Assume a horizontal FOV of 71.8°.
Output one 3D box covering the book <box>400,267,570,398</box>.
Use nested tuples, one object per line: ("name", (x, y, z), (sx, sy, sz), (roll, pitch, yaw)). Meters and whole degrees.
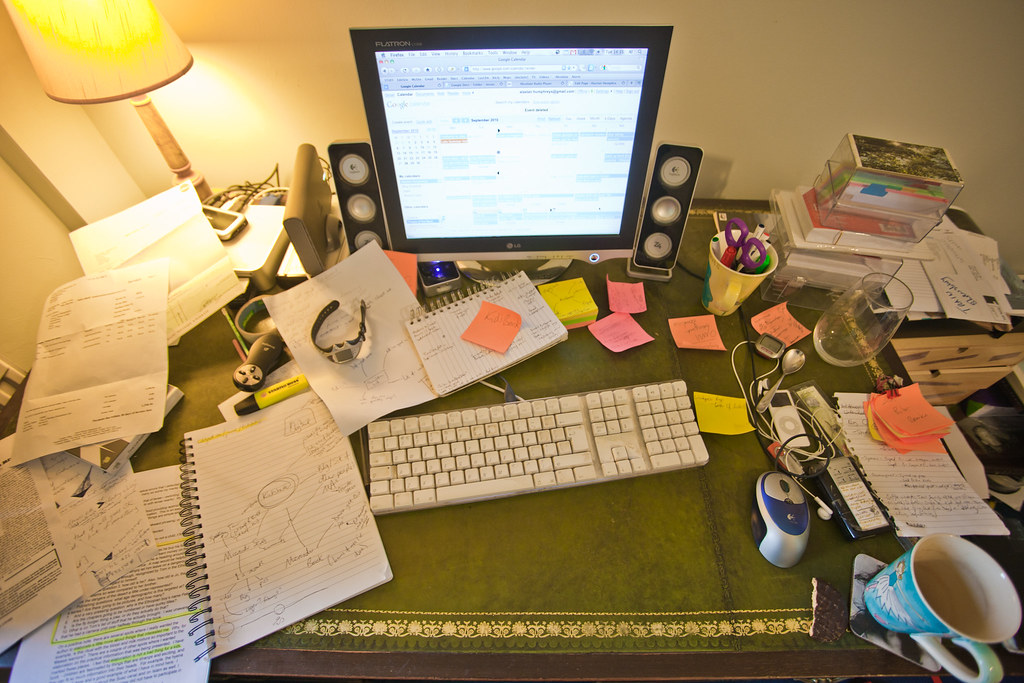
("book", (-0.065, -0.024, 1.640), (0.303, 0.054, 0.237), (-25, 61, -9))

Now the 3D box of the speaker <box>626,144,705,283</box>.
("speaker", (0.366, -0.319, 1.762), (0.164, 0.335, 0.131), (17, 37, 15))

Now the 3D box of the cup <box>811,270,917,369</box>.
("cup", (0.828, -0.059, 1.687), (0.123, 0.175, 0.129), (15, 44, -15))

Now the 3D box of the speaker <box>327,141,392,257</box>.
("speaker", (-0.350, -0.345, 1.652), (0.148, 0.236, 0.121), (-8, 43, -15))

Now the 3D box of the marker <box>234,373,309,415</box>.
("marker", (-0.533, 0.119, 1.569), (0.140, 0.034, 0.034), (-25, 5, -6))

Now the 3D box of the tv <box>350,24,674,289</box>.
("tv", (-0.012, -0.422, 1.572), (0.637, 0.540, 0.218), (-1, 39, 0))

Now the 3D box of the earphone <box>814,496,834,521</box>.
("earphone", (0.649, 0.351, 1.477), (0.016, 0.025, 0.041), (-8, 39, -31))

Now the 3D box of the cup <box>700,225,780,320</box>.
("cup", (0.522, -0.181, 1.688), (0.210, 0.183, 0.242), (13, 44, 11))

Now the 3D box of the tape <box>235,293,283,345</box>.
("tape", (-0.604, -0.045, 1.680), (0.119, 0.049, 0.081), (39, 74, 12))

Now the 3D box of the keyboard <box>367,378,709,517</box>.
("keyboard", (0.050, 0.223, 1.549), (0.710, 0.069, 0.230), (-8, 44, -5))
